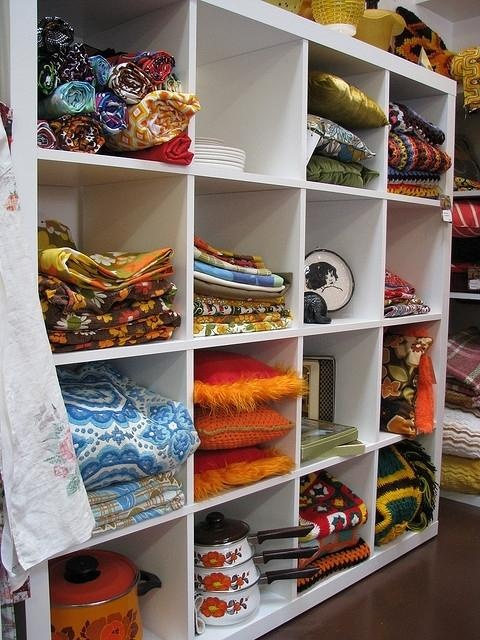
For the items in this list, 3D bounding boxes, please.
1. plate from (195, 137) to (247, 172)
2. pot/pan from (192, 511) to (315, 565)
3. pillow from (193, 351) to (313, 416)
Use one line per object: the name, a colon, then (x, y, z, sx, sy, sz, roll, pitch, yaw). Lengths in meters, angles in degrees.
plate: (-0.056, -0.386, 1.242, 0.112, 0.044, 0.115, 2, 5, -2)
pot/pan: (0.009, 0.551, 1.399, 0.251, 0.094, 0.155, 1, 0, -20)
pillow: (-0.026, 0.162, 1.354, 0.212, 0.135, 0.367, 10, 3, 44)
